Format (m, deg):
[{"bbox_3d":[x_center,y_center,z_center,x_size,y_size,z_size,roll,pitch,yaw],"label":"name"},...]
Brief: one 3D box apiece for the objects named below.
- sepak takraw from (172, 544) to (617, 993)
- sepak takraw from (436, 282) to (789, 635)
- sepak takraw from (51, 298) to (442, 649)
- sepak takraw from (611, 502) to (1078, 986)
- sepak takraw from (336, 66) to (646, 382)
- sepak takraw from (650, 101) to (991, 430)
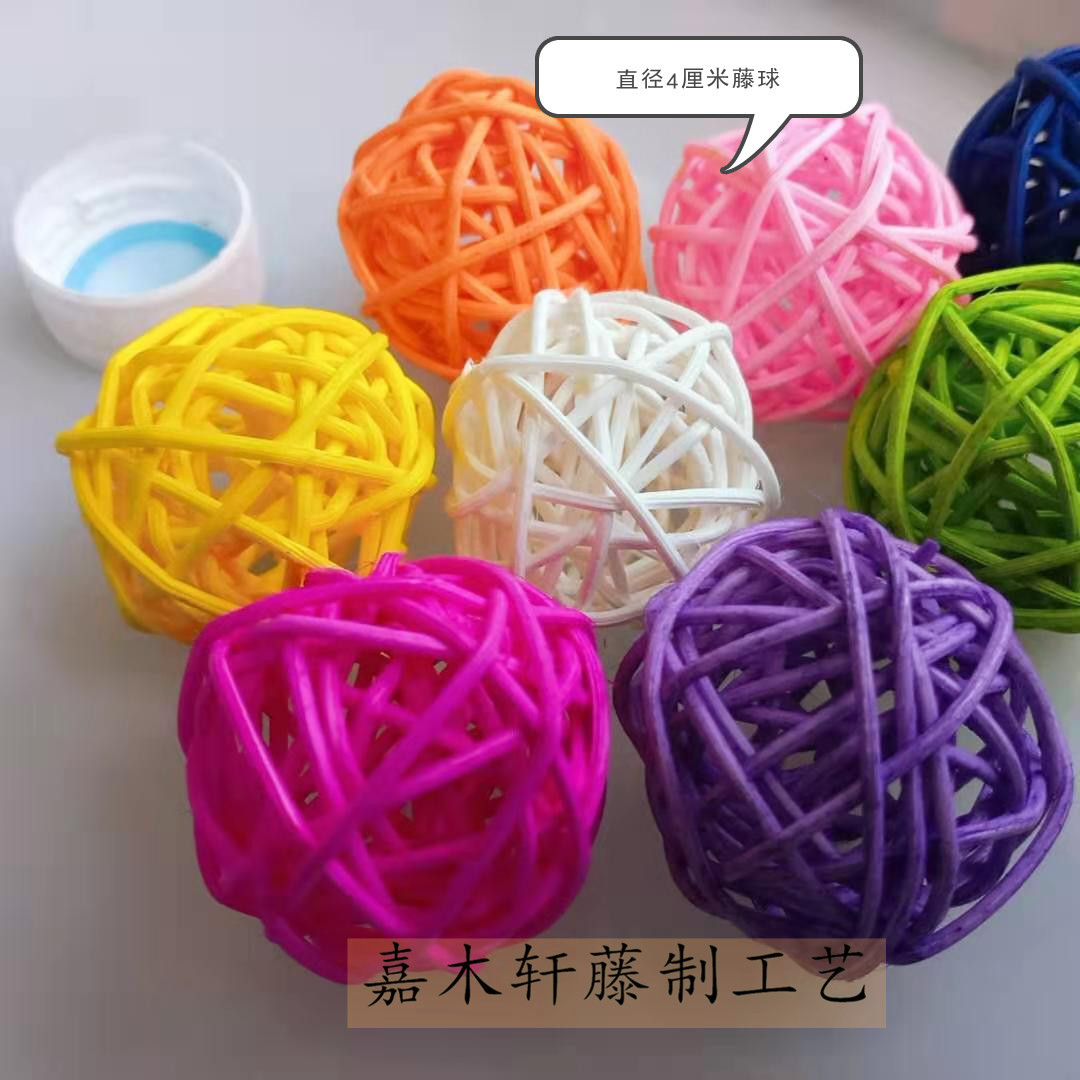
[{"bbox_3d":[-0.129,0.194,1.376,0.414,0.304,0.341,-11,56,-7],"label":"sepak takraw"},{"bbox_3d":[0.019,-0.079,1.665,0.373,0.387,0.322,-1,86,-17],"label":"sepak takraw"},{"bbox_3d":[-0.326,-0.085,1.682,0.366,0.382,0.461,-9,64,-5],"label":"sepak takraw"},{"bbox_3d":[0.293,0.200,1.433,0.392,0.345,0.401,-28,60,-18],"label":"sepak takraw"},{"bbox_3d":[-0.049,-0.385,1.826,0.392,0.322,0.325,-12,89,14],"label":"sepak takraw"},{"bbox_3d":[0.307,-0.357,1.818,0.391,0.330,0.389,-7,22,0],"label":"sepak takraw"}]
